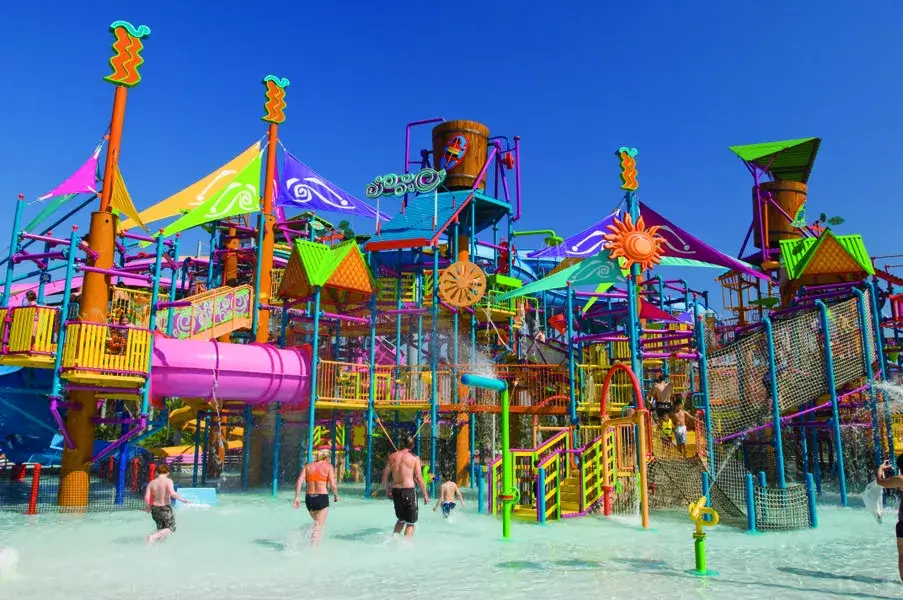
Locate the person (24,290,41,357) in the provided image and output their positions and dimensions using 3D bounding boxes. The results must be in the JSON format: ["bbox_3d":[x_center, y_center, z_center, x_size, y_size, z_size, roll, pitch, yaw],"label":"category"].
[{"bbox_3d":[-10.446,0.499,17.770,0.310,1.825,1.320,8,-17,-31],"label":"person"}]

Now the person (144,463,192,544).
[{"bbox_3d":[-5.813,4.057,14.473,0.695,1.483,1.679,5,-15,-21],"label":"person"}]

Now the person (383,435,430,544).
[{"bbox_3d":[-0.924,3.690,14.129,0.802,1.956,0.732,1,-14,-6],"label":"person"}]

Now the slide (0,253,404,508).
[{"bbox_3d":[-7.231,2.360,19.688,7.722,6.288,2.599,11,-18,-38],"label":"slide"}]
